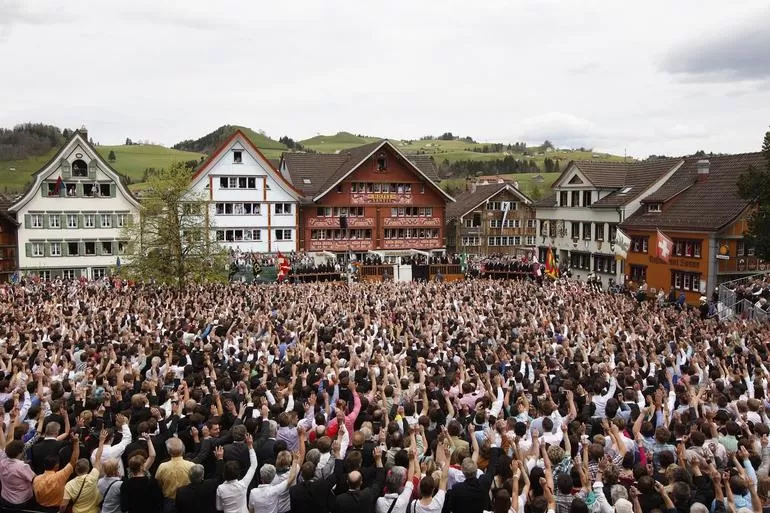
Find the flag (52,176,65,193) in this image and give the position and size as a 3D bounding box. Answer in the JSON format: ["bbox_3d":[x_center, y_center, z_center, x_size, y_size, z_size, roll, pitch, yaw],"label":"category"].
[{"bbox_3d":[-27.604,-6.067,66.628,0.843,1.479,1.084,-2,5,-25],"label":"flag"}]

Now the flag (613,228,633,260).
[{"bbox_3d":[15.773,-0.839,52.210,0.193,1.950,1.726,3,24,-28],"label":"flag"}]
